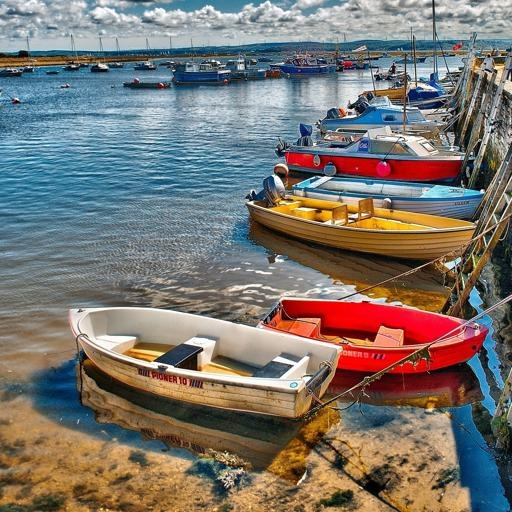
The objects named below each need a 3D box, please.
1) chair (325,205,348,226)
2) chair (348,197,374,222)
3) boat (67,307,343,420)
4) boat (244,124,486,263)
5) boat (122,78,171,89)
[{"bbox_3d":[2.279,-1.159,14.047,0.594,0.534,0.401,-10,19,-29],"label":"chair"},{"bbox_3d":[3.067,-1.336,14.506,0.799,0.582,0.567,-21,31,-27],"label":"chair"},{"bbox_3d":[-1.326,1.983,8.757,5.189,0.869,1.785,6,15,16],"label":"boat"},{"bbox_3d":[3.342,-1.231,14.663,3.427,2.089,6.192,-14,19,-42],"label":"boat"},{"bbox_3d":[-17.134,-27.283,79.324,6.941,2.005,4.465,-1,14,-4],"label":"boat"}]
